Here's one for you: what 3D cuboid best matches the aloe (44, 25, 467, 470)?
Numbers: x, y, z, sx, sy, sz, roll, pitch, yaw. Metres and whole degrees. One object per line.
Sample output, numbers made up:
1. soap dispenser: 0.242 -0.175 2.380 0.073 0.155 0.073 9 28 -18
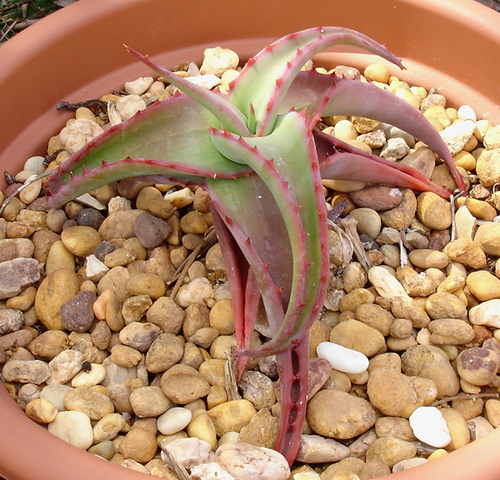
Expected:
1. aloe: 0.115 0.046 1.425 0.930 0.995 0.714 -14 58 -13
